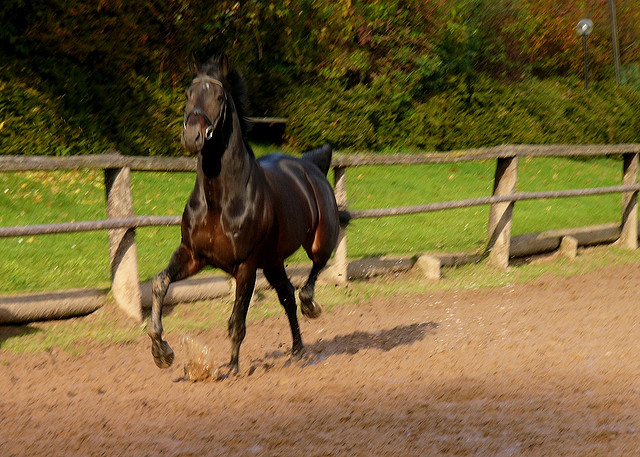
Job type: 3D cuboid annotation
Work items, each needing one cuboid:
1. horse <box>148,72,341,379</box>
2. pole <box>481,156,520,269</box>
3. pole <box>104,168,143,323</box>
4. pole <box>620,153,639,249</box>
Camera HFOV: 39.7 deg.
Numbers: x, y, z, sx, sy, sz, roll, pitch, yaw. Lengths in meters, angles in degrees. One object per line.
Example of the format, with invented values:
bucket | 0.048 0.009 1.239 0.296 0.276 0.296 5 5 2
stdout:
horse | -0.617 0.017 8.814 1.024 2.990 3.810 4 5 19
pole | 2.390 -0.217 11.792 0.400 1.418 0.612 3 15 14
pole | -2.126 0.179 9.582 0.331 1.607 0.589 -4 15 -14
pole | 4.571 -0.402 12.960 0.310 1.369 0.532 5 15 18
